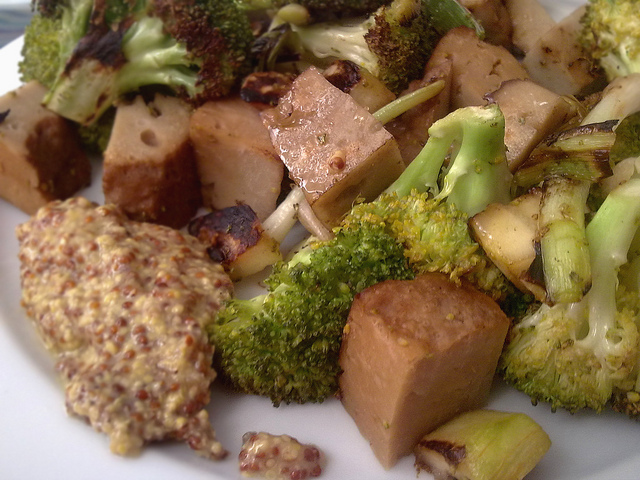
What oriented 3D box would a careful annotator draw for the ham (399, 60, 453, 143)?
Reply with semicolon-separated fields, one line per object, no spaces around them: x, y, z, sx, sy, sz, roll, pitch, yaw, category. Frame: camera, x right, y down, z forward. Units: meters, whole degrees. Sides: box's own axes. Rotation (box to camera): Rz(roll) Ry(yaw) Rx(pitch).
0.497;-0.603;3.021;0.214;0.412;0.117;-9;16;-22;ham

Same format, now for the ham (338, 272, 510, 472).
0.398;0.458;2.624;0.560;0.559;0.420;-20;41;-27;ham

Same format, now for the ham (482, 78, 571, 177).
0.882;-0.531;2.873;0.315;0.470;0.168;-17;24;-38;ham

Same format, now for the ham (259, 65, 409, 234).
0.050;-0.418;2.790;0.503;0.737;0.328;-9;17;-18;ham
